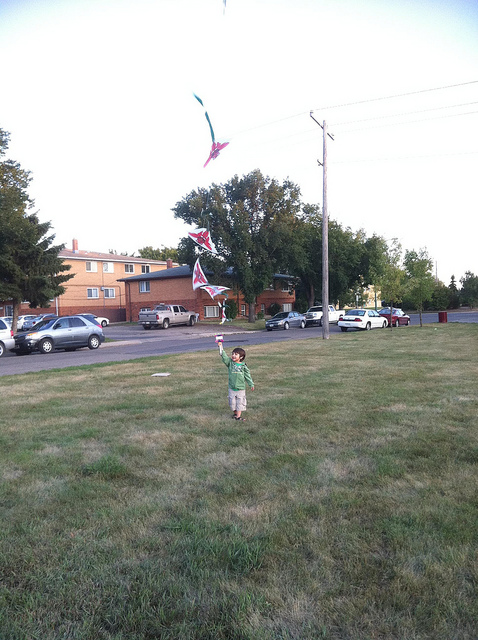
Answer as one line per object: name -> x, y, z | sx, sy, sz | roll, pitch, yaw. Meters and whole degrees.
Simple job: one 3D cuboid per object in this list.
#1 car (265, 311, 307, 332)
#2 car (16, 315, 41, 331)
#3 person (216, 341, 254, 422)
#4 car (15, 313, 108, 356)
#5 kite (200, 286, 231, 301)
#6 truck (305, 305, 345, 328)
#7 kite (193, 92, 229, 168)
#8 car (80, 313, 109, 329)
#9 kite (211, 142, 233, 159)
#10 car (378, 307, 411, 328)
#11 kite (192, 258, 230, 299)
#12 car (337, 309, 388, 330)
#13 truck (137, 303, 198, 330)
car -> 2.404, 0.089, 34.244 | 0.960, 0.918, 2.362 | -3, -3, 31
car -> -13.505, 0.296, 40.181 | 0.670, 0.684, 1.612 | 2, 11, 11
person -> -0.056, 0.678, 7.434 | 0.377, 1.019, 0.282 | 0, 21, 3
car -> -6.073, 0.515, 21.869 | 1.132, 1.192, 2.300 | -6, -7, 41
kite -> -0.289, -0.338, 9.094 | 0.339, 0.111, 0.391 | -27, 21, -14
truck -> 4.804, -0.231, 37.678 | 1.204, 1.034, 2.411 | -2, -1, 33
kite -> -0.503, -3.440, 11.820 | 0.512, 0.264, 1.622 | -4, -35, -5
car -> -7.310, 0.045, 32.469 | 1.614, 0.797, 0.826 | -5, 12, -27
kite -> -0.345, -3.218, 11.909 | 0.262, 0.255, 0.553 | -2, 1, -11
car -> 8.392, -0.141, 34.870 | 1.031, 0.956, 2.471 | 5, 9, 34
kite -> -0.485, -0.655, 9.599 | 0.534, 0.475, 0.650 | 18, 9, 39
car -> 6.049, 0.026, 31.313 | 1.076, 0.897, 2.371 | 4, 10, 38
truck -> -4.249, -0.177, 38.451 | 1.739, 1.409, 3.921 | -1, 2, 29
